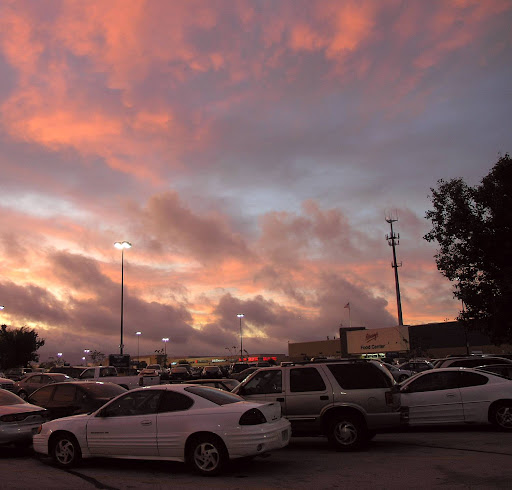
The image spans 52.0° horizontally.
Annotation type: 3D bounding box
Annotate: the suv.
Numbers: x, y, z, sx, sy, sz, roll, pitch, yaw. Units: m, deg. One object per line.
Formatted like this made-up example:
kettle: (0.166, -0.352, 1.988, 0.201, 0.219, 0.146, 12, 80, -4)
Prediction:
suv: (1.465, 3.533, 12.128, 4.001, 1.277, 1.717, -1, -11, 12)

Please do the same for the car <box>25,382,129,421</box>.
car: (-5.100, 4.135, 14.169, 2.845, 0.709, 1.195, -1, -7, 23)
